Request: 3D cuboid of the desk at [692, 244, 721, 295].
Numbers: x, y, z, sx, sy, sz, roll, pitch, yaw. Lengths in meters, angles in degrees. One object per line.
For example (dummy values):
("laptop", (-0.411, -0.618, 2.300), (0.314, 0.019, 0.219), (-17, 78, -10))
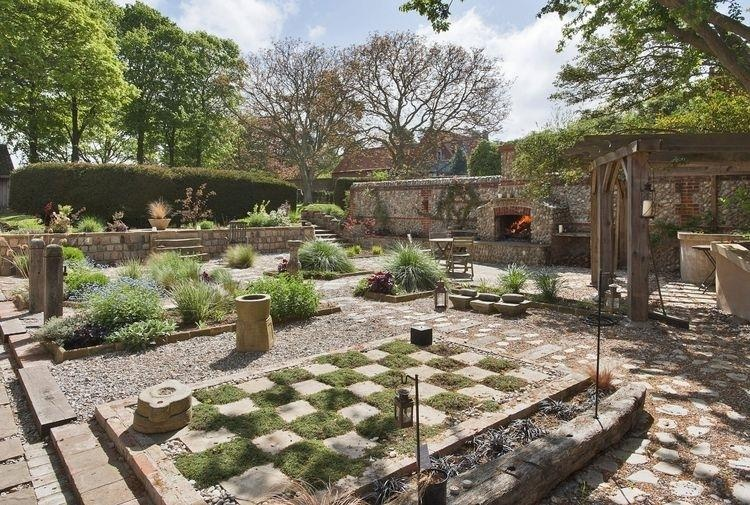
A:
("desk", (8.174, 0.346, 12.427), (0.446, 1.117, 1.187), (1, 5, 33))
